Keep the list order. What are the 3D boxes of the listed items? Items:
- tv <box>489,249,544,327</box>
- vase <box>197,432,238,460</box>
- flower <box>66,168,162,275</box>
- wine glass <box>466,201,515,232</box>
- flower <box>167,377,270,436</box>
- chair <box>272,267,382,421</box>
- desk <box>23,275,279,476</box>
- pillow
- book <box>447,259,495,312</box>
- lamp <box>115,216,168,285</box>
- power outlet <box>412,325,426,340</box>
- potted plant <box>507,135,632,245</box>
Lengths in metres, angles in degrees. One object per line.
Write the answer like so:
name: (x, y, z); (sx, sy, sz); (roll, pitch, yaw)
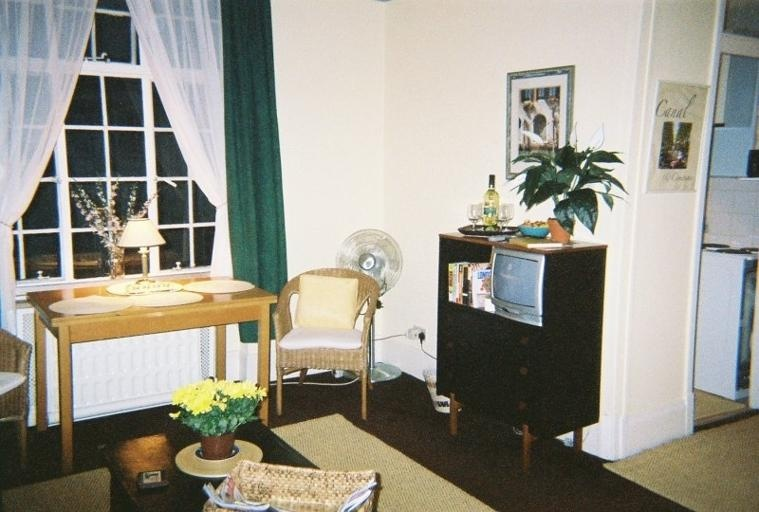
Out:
tv: (0.990, 0.211, 4.342); (0.480, 0.524, 0.470); (-1, 5, -28)
vase: (-0.978, 1.154, 3.733); (0.174, 0.127, 0.171); (0, 0, 3)
flower: (-2.313, -0.336, 5.222); (0.902, 1.010, 0.279); (-3, 10, -34)
wine glass: (0.908, -0.313, 4.856); (0.286, 0.192, 0.275); (2, 6, 24)
flower: (-0.955, 0.894, 3.767); (0.461, 0.282, 0.413); (1, 4, -1)
chair: (-0.423, 0.730, 5.659); (1.218, 1.498, 1.152); (1, 1, 5)
desk: (-1.882, 0.735, 4.970); (2.282, 1.433, 1.226); (-3, 6, -34)
pillow: (-0.456, 0.399, 5.273); (0.534, 0.452, 0.153); (4, -8, 6)
book: (0.703, 0.230, 4.724); (0.318, 0.416, 0.431); (3, 2, 43)
lamp: (-1.949, -0.057, 4.973); (0.316, 0.531, 0.676); (-6, 10, -23)
power outlet: (0.395, 0.753, 5.968); (0.054, 0.128, 0.163); (-8, 11, -32)
potted plant: (1.406, -0.498, 4.479); (0.797, 0.683, 0.736); (1, 10, 22)
